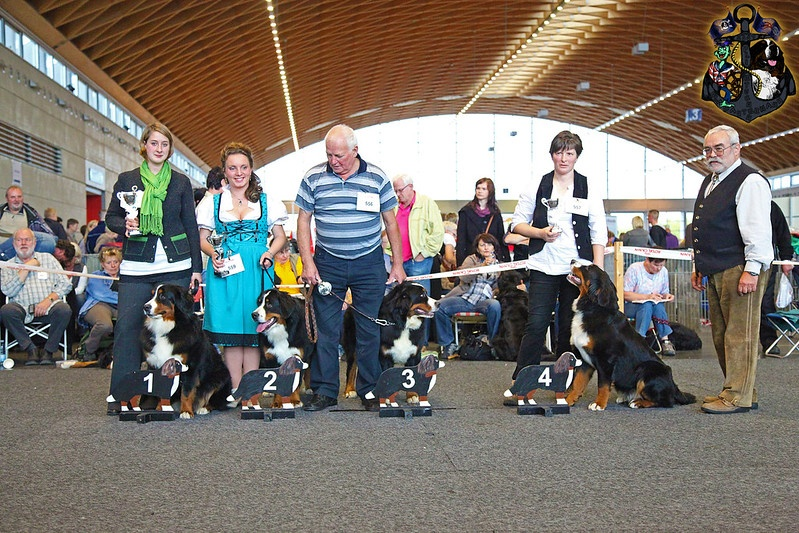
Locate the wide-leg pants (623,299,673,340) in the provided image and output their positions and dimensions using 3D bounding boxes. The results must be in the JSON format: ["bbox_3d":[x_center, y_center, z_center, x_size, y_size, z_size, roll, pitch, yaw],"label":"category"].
[{"bbox_3d":[3.520,0.572,10.171,0.549,0.668,0.608,1,5,-11],"label":"wide-leg pants"}]

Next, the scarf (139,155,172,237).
[{"bbox_3d":[-2.255,-0.630,6.735,0.288,0.672,0.302,-2,10,-15],"label":"scarf"}]

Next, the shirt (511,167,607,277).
[{"bbox_3d":[1.530,-0.386,7.009,0.898,0.905,0.460,2,10,10],"label":"shirt"}]

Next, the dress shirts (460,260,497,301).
[{"bbox_3d":[1.068,0.181,9.876,0.460,0.591,0.327,7,-5,-3],"label":"dress shirts"}]

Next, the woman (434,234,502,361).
[{"bbox_3d":[1.007,0.368,9.957,0.995,1.636,1.020,3,1,-10],"label":"woman"}]

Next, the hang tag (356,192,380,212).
[{"bbox_3d":[-0.300,-0.604,6.797,0.238,0.165,0.054,4,1,-17],"label":"hang tag"}]

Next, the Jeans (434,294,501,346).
[{"bbox_3d":[0.887,0.751,10.160,0.718,0.932,0.745,1,9,-2],"label":"Jeans"}]

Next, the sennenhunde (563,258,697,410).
[{"bbox_3d":[2.346,0.757,7.087,1.645,1.252,0.867,8,-9,8],"label":"sennenhunde"}]

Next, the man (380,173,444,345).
[{"bbox_3d":[0.114,-0.085,9.683,0.858,2.239,0.824,0,18,1],"label":"man"}]

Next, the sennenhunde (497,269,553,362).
[{"bbox_3d":[1.689,0.646,9.762,0.468,1.603,0.825,3,1,19],"label":"sennenhunde"}]

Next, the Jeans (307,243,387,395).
[{"bbox_3d":[-0.532,0.522,7.066,0.721,1.506,0.487,2,4,-9],"label":"Jeans"}]

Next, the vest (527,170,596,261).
[{"bbox_3d":[1.556,-0.465,6.965,0.831,1.095,0.598,1,-4,6],"label":"vest"}]

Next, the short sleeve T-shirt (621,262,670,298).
[{"bbox_3d":[3.475,0.180,10.192,0.679,0.469,0.361,1,14,1],"label":"short sleeve T-shirt"}]

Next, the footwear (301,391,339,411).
[{"bbox_3d":[-0.759,1.286,6.961,0.127,0.154,0.340,0,-7,36],"label":"footwear"}]

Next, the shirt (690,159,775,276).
[{"bbox_3d":[3.113,-0.443,6.819,0.709,1.050,0.424,5,11,28],"label":"shirt"}]

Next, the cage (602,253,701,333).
[{"bbox_3d":[4.339,0.443,12.758,1.600,1.517,1.523,-1,-1,-13],"label":"cage"}]

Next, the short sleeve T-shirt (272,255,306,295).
[{"bbox_3d":[-1.593,0.039,10.293,0.509,0.350,0.621,3,-26,3],"label":"short sleeve T-shirt"}]

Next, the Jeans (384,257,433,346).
[{"bbox_3d":[0.190,0.227,9.752,0.767,1.560,0.405,2,1,15],"label":"Jeans"}]

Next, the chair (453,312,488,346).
[{"bbox_3d":[0.982,0.850,10.313,0.473,0.692,0.508,1,-12,1],"label":"chair"}]

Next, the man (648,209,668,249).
[{"bbox_3d":[5.954,-0.674,16.941,0.422,1.353,0.631,1,23,18],"label":"man"}]

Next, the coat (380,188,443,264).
[{"bbox_3d":[0.136,-0.533,9.636,0.869,0.884,0.464,-5,-3,22],"label":"coat"}]
